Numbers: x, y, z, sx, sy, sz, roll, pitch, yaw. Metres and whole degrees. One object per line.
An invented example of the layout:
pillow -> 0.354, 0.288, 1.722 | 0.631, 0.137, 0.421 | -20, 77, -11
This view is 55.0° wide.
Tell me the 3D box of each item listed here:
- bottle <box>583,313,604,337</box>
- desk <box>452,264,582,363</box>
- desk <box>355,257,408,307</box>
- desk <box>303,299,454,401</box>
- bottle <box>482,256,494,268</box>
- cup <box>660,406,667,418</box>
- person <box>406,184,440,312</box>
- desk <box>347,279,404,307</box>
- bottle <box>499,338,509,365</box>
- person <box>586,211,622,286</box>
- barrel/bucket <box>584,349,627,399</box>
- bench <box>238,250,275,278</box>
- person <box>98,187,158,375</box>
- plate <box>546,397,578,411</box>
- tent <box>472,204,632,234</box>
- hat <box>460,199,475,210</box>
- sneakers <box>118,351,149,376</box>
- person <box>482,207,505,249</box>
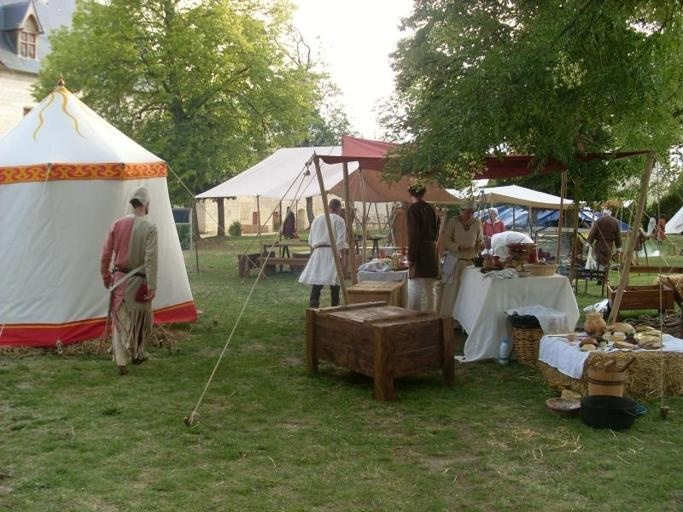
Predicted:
bottle -> 2.742, 0.750, 7.219 | 0.236, 0.312, 0.236 | 2, -1, 0
desk -> 2.263, 0.536, 8.745 | 1.607, 0.900, 1.259 | -4, 15, -11
desk -> 0.596, 0.330, 9.839 | 0.657, 0.427, 0.813 | 1, 5, 12
desk -> 0.372, 0.951, 7.228 | 0.974, 0.716, 1.280 | 0, 2, -33
bottle -> 1.914, 0.072, 8.586 | 0.144, 0.143, 0.138 | -7, 8, -25
cup -> 3.105, 1.504, 6.294 | 0.092, 0.099, 0.092 | 0, -3, 0
person -> 1.109, -0.127, 8.979 | 0.413, 1.797, 0.568 | 11, 18, 40
desk -> 0.455, 0.490, 8.834 | 0.367, 0.328, 0.666 | -4, 8, -31
bottle -> 2.003, 1.164, 8.026 | 0.114, 0.285, 0.164 | 2, 14, 9
person -> 5.348, -0.251, 13.317 | 0.622, 1.055, 0.809 | 5, 15, 21
barrel/bucket -> 2.611, 1.172, 6.387 | 0.455, 0.427, 0.332 | 2, -3, -44
bench -> -2.358, 0.174, 16.163 | 1.307, 0.700, 0.851 | -1, 1, -40
person -> -2.488, 0.285, 7.779 | 0.651, 2.086, 0.809 | -6, 15, -21
plate -> 2.198, 1.468, 6.497 | 0.315, 0.055, 0.282 | 4, 14, 17
tent -> 5.916, -1.027, 18.090 | 2.038, 0.839, 1.998 | -2, 2, -43
hat -> 1.707, -0.700, 8.885 | 0.128, 0.158, 0.153 | 5, -2, -16
sneakers -> -2.496, 1.289, 7.805 | 0.096, 0.122, 0.365 | -2, 20, 44
person -> 3.625, -0.707, 15.594 | 0.479, 0.841, 2.155 | 3, 14, 13
